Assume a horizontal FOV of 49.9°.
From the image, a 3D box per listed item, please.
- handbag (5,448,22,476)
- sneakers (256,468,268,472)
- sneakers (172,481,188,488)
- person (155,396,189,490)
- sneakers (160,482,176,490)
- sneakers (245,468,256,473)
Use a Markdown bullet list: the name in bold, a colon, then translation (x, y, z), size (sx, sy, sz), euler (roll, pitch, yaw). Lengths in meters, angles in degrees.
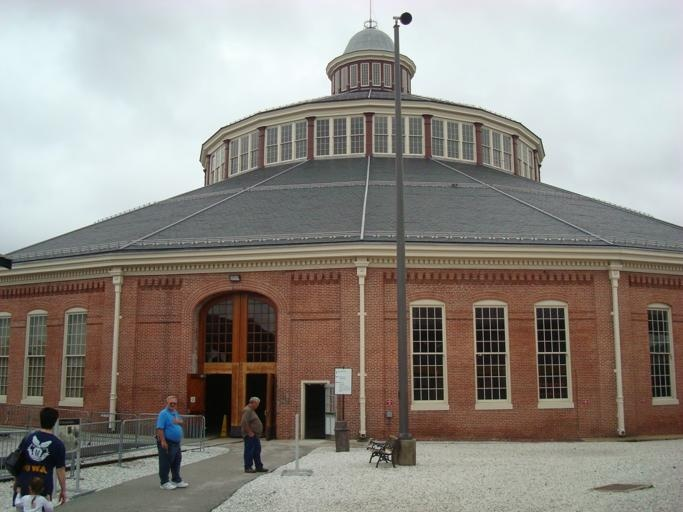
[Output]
- **handbag**: translation (-6.415, 4.045, 14.433), size (0.247, 0.522, 0.391), euler (9, -19, -37)
- **sneakers**: translation (-2.269, 6.152, 21.151), size (0.342, 0.200, 0.109), euler (-3, -6, -7)
- **sneakers**: translation (-4.181, 5.972, 19.195), size (0.363, 0.132, 0.120), euler (0, -5, 6)
- **person**: translation (-4.444, 4.916, 19.449), size (0.755, 2.375, 1.196), euler (0, -15, -11)
- **sneakers**: translation (-4.476, 5.934, 18.983), size (0.424, 0.164, 0.143), euler (-3, -8, 17)
- **sneakers**: translation (-2.553, 6.138, 21.084), size (0.231, 0.121, 0.363), euler (-8, -15, 23)
